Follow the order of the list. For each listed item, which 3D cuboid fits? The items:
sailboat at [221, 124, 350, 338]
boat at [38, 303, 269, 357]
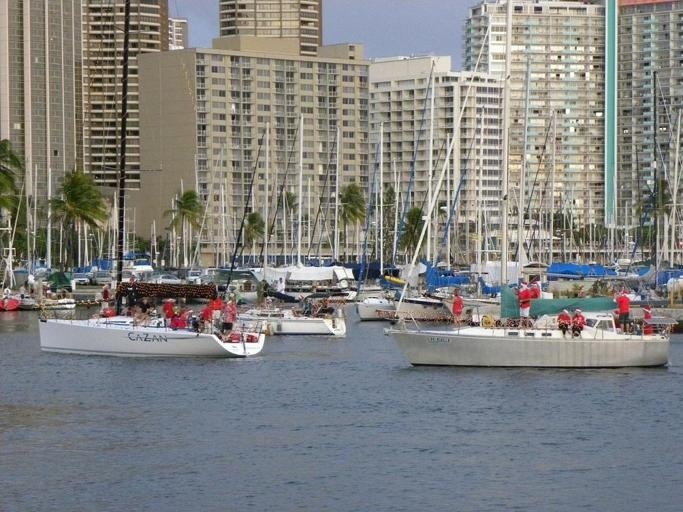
[{"bbox_3d":[-8.051,-3.317,250.441,8.284,27.863,6.044,-5,4,25],"label":"sailboat"},{"bbox_3d":[-18.597,7.781,178.135,19.364,3.685,2.198,1,1,6],"label":"boat"}]
